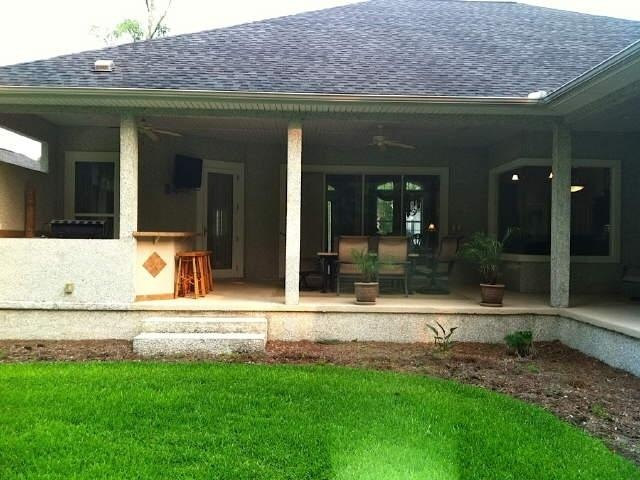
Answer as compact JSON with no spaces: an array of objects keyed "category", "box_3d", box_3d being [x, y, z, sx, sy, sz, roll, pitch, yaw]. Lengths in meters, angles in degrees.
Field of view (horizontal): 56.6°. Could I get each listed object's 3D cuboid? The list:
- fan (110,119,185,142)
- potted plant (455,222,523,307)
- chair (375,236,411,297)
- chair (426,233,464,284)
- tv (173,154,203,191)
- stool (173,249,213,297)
[{"category":"fan","box_3d":[-3.202,-2.008,10.854,0.763,0.200,0.834,0,0,-23]},{"category":"potted plant","box_3d":[2.981,0.454,10.149,0.871,1.775,0.996,4,2,-4]},{"category":"chair","box_3d":[1.276,0.454,10.303,0.505,0.975,0.563,4,2,3]},{"category":"chair","box_3d":[2.292,0.338,10.936,0.703,1.178,0.825,0,9,-14]},{"category":"tv","box_3d":[-2.836,-1.421,12.584,0.812,0.733,0.106,7,-4,-44]},{"category":"stool","box_3d":[-2.191,0.588,10.285,0.487,0.738,0.484,1,1,16]}]
